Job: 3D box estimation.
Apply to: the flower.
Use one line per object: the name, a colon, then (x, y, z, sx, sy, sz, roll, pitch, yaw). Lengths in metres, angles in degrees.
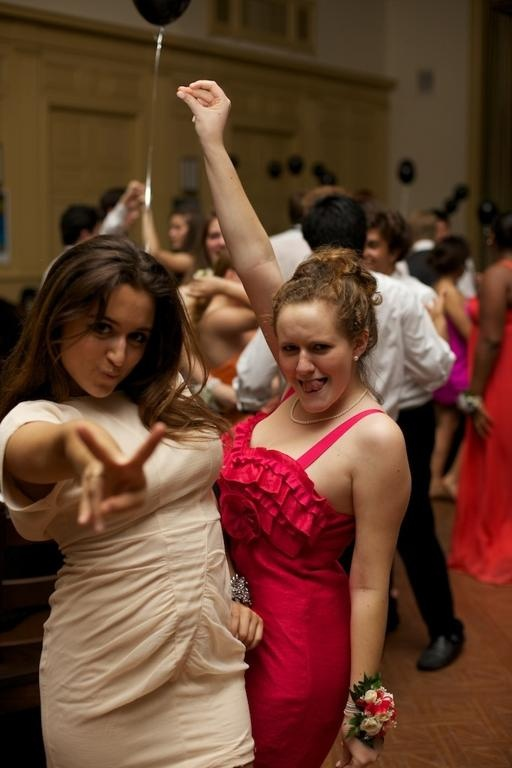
flower: (0.190, 0.533, 1.090, 0.113, 0.077, 0.087, 9, 12, -33)

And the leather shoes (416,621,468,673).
leather shoes: (0.800, 1.098, 2.814, 0.101, 0.106, 0.273, -5, 19, 39)
